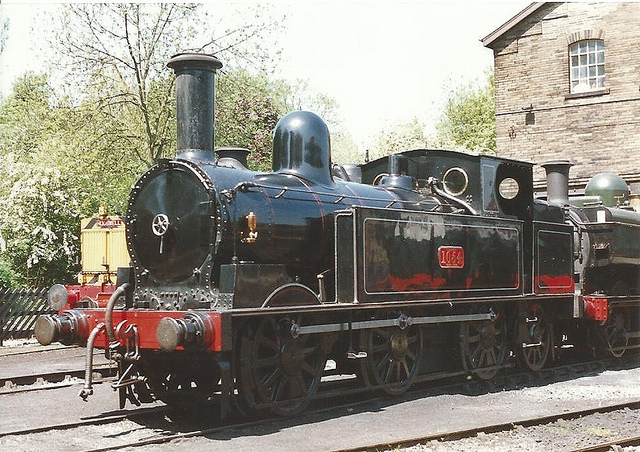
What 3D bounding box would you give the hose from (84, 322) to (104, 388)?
[{"bbox_3d":[-2.909,1.723,6.910,0.180,0.918,0.303,3,0,21],"label":"hose"}]
